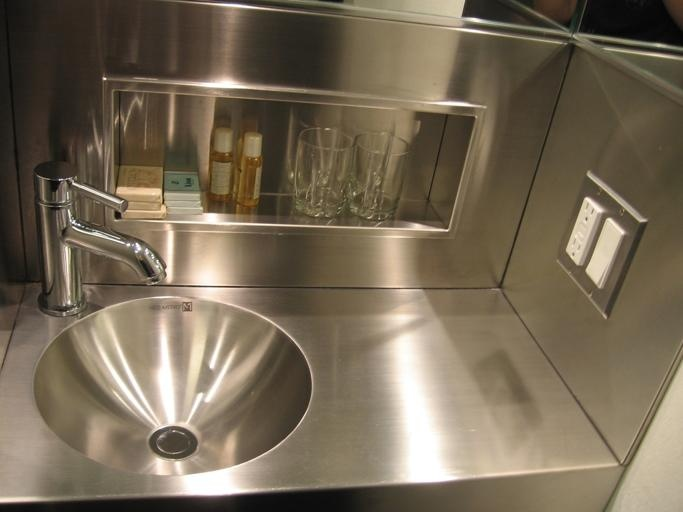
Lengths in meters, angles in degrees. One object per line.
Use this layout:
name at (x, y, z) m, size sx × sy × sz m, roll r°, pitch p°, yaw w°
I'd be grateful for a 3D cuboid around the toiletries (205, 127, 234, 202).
toiletries at (-0.250, -0.188, 1.099) m, size 0.049 × 0.066 × 0.162 m, roll 3°, pitch -70°, yaw -13°

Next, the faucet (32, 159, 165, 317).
faucet at (-0.439, 0.017, 0.970) m, size 0.230 × 0.146 × 0.283 m, roll 6°, pitch -55°, yaw -15°

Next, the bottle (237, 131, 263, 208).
bottle at (-0.196, -0.186, 1.132) m, size 0.061 × 0.061 × 0.149 m, roll -17°, pitch -55°, yaw -45°

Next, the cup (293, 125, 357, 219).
cup at (-0.040, -0.178, 1.144) m, size 0.114 × 0.069 × 0.178 m, roll 3°, pitch -54°, yaw -13°

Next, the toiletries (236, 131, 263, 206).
toiletries at (-0.195, -0.186, 1.132) m, size 0.047 × 0.051 × 0.145 m, roll 2°, pitch -65°, yaw -17°

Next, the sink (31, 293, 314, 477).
sink at (-0.322, 0.218, 1.171) m, size 0.486 × 0.484 × 0.316 m, roll 3°, pitch -64°, yaw -12°

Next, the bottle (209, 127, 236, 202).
bottle at (-0.249, -0.191, 1.097) m, size 0.050 × 0.055 × 0.159 m, roll -6°, pitch -60°, yaw -14°
